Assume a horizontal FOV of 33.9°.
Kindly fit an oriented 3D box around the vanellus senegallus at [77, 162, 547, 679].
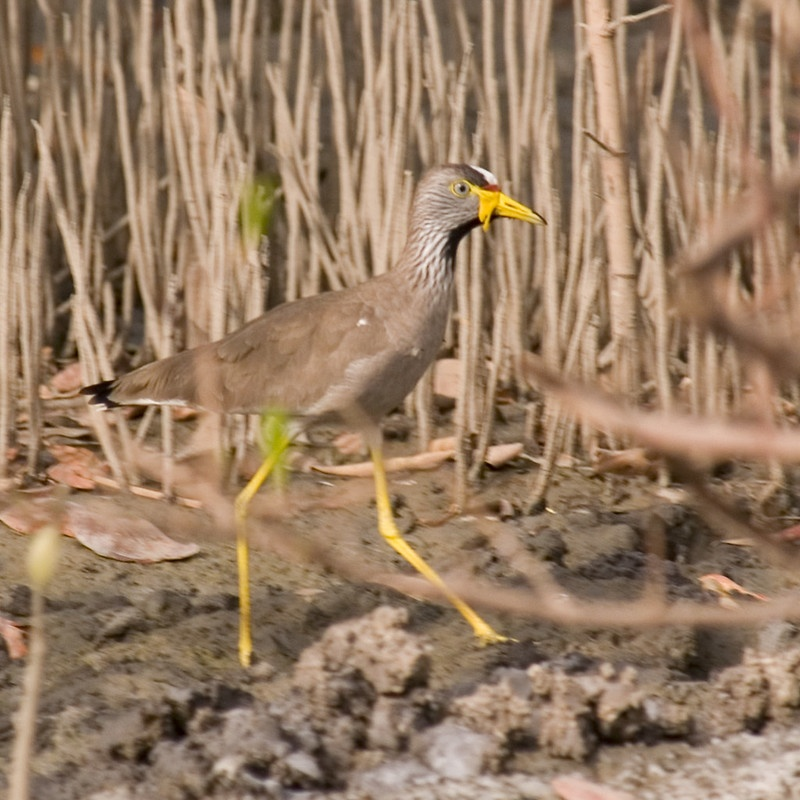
[{"bbox_3d":[-0.169,0.041,2.618,1.055,0.919,0.293,0,1,18],"label":"vanellus senegallus"}]
